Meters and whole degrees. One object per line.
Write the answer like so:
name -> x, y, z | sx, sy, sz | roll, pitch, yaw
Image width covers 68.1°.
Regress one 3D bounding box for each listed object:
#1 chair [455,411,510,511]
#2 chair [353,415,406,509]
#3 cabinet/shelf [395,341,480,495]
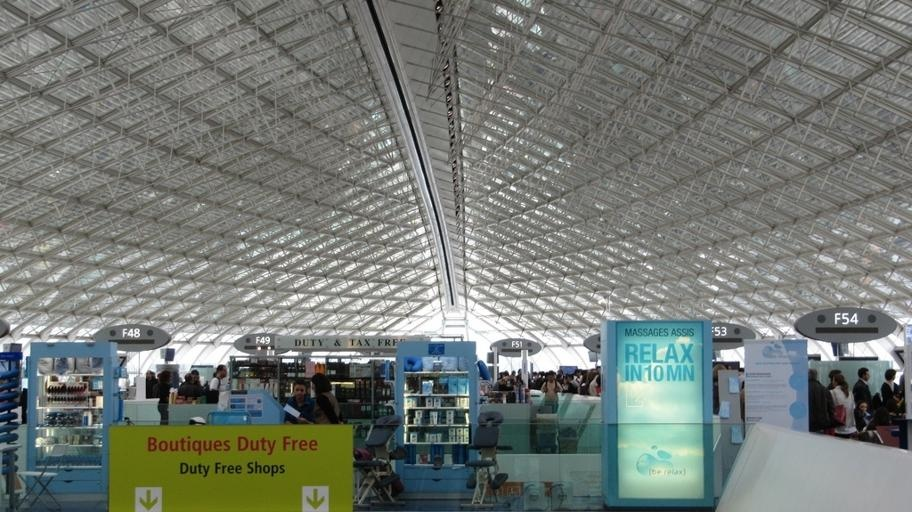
chair -> 0.721, 5.426, 17.502 | 1.000, 2.134, 0.481 | -9, -16, 33
chair -> -1.986, 5.350, 17.737 | 0.731, 2.107, 1.538 | -8, -15, 31
cabinet/shelf -> -0.625, 5.044, 20.617 | 3.677, 5.413, 1.918 | -1, -19, 0
